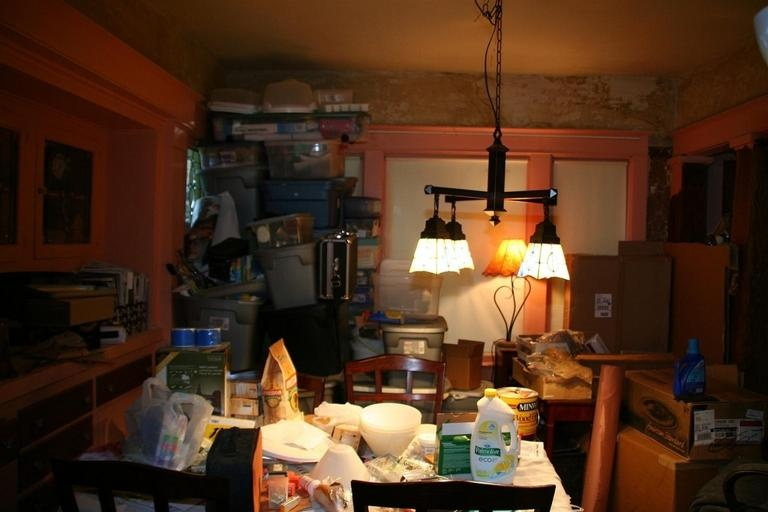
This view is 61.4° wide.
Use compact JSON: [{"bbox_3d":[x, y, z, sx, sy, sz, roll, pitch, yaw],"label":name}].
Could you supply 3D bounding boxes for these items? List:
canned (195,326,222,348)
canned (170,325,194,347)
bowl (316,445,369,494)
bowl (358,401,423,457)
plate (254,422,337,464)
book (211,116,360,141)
[{"bbox_3d":[-0.966,0.434,3.487,0.105,0.066,0.104,3,-5,-32],"label":"canned"},{"bbox_3d":[-1.079,0.425,3.436,0.097,0.071,0.098,0,-7,17],"label":"canned"},{"bbox_3d":[-0.208,0.986,3.058,0.209,0.094,0.209,1,-4,0],"label":"bowl"},{"bbox_3d":[0.019,0.892,3.352,0.247,0.153,0.249,0,-10,0],"label":"bowl"},{"bbox_3d":[-0.470,0.940,3.282,0.221,0.065,0.219,3,11,-24],"label":"plate"},{"bbox_3d":[-0.748,-1.011,5.063,1.201,0.207,0.092,-1,2,6],"label":"book"}]
